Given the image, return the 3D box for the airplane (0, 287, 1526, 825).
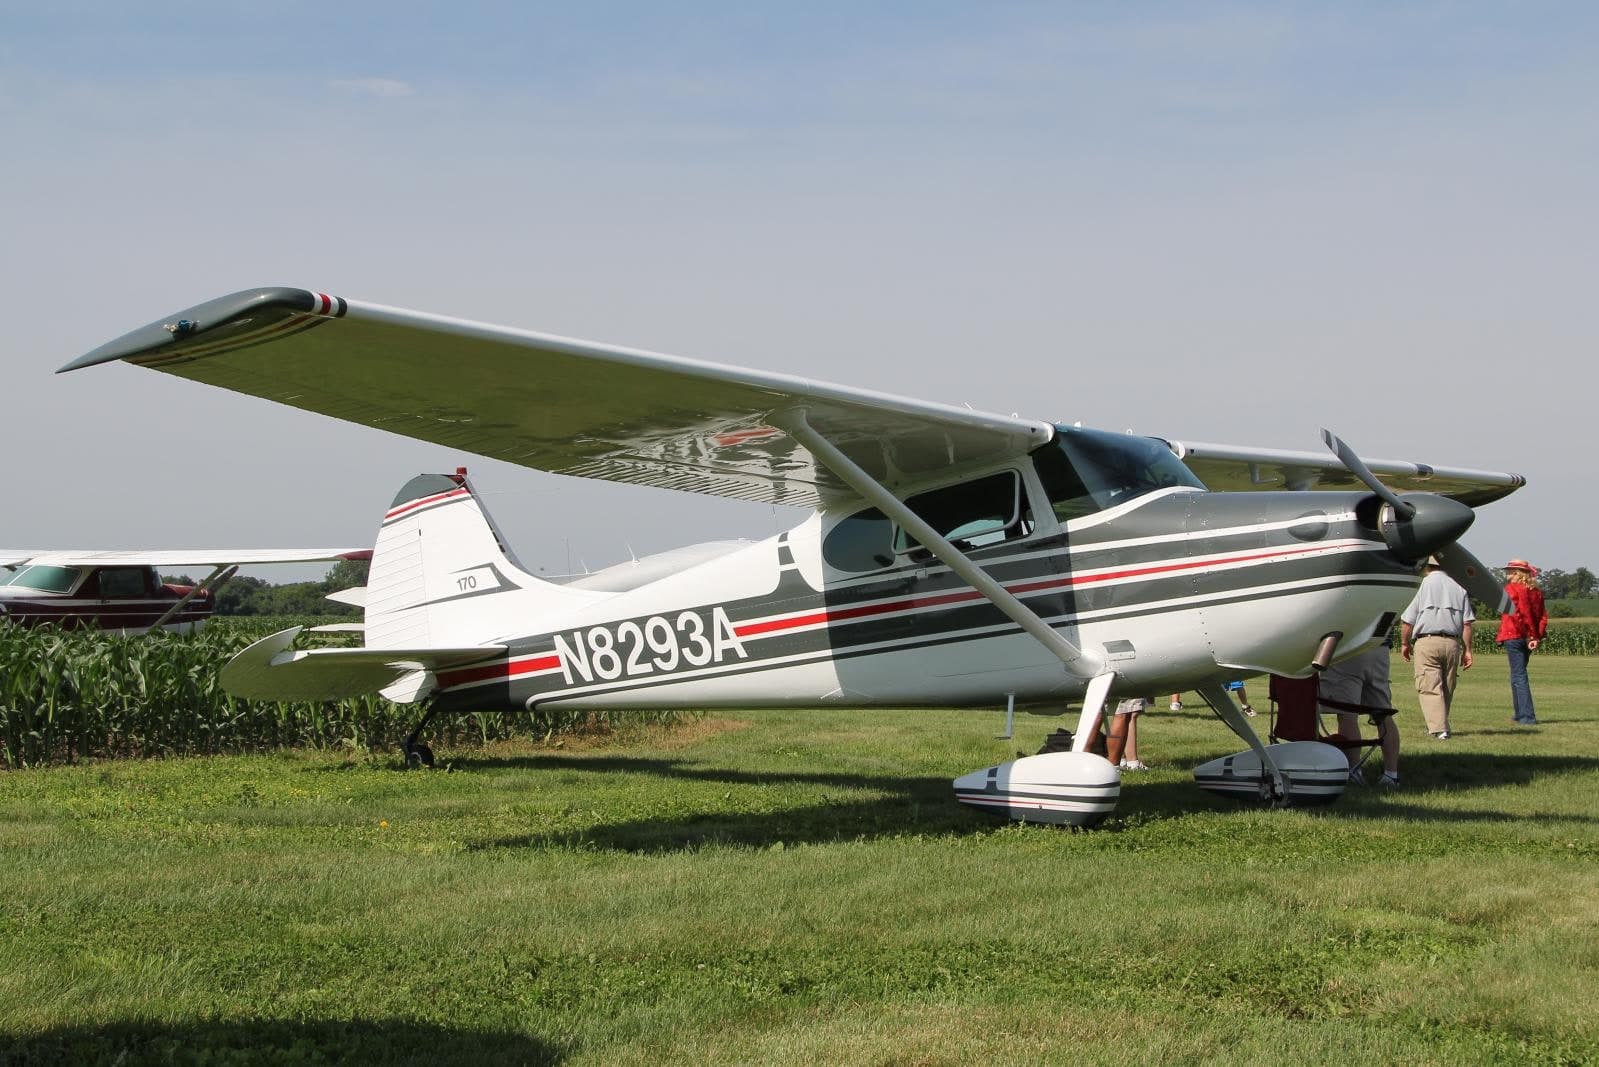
[{"bbox_3d":[-0.158,0.142,10.470,5.795,1.237,7.250,-5,-6,35],"label":"airplane"}]
